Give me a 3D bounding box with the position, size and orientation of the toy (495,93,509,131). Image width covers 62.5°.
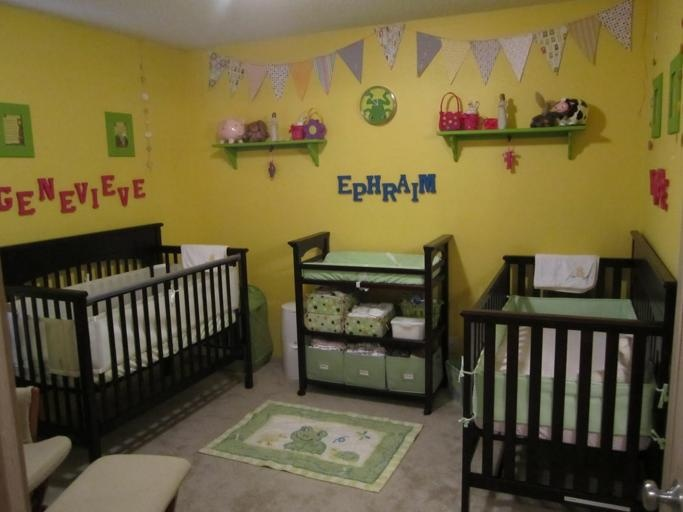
[{"bbox_3d":[1.137,-1.016,3.966,0.072,0.252,0.151,1,9,15],"label":"toy"}]

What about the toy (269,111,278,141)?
[{"bbox_3d":[-0.550,-1.049,4.574,0.076,0.237,0.158,-2,9,-7],"label":"toy"}]

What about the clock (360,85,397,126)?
[{"bbox_3d":[0.285,-1.145,4.312,0.277,0.294,0.072,4,10,27],"label":"clock"}]

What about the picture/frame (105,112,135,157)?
[{"bbox_3d":[-1.739,-0.946,4.378,0.030,0.443,0.315,4,9,30],"label":"picture/frame"}]

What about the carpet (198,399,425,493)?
[{"bbox_3d":[-0.160,1.192,3.643,1.257,0.113,0.743,2,9,18],"label":"carpet"}]

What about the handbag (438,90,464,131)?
[{"bbox_3d":[0.796,-1.042,4.076,0.169,0.292,0.191,1,9,10],"label":"handbag"}]

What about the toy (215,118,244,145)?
[{"bbox_3d":[-0.894,-1.018,4.627,0.224,0.192,0.115,1,9,15],"label":"toy"}]

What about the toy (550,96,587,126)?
[{"bbox_3d":[1.537,-0.970,3.798,0.223,0.189,0.118,2,9,21],"label":"toy"}]
